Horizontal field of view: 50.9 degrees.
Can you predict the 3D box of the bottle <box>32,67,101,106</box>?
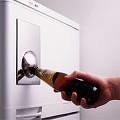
[{"bbox_3d":[0.006,0.096,0.435,0.270,0.059,0.072,11,14,39],"label":"bottle"}]
